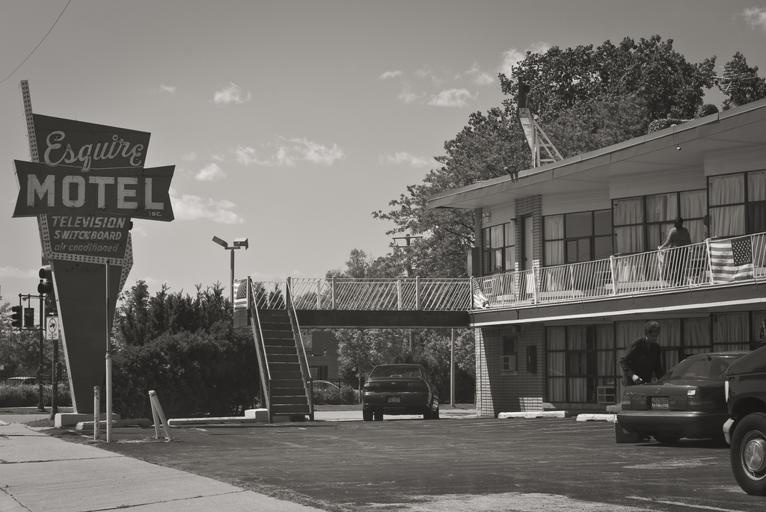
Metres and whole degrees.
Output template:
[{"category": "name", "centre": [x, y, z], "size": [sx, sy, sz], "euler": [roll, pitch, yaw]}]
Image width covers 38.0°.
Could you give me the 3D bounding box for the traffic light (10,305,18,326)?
[{"category": "traffic light", "centre": [-16.201, 2.665, 48.816], "size": [0.287, 0.860, 1.199], "euler": [0, -10, -18]}]

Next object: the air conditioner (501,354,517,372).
[{"category": "air conditioner", "centre": [4.972, 4.188, 43.516], "size": [0.364, 0.644, 0.649], "euler": [9, -11, -43]}]

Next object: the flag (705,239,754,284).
[{"category": "flag", "centre": [10.475, 0.145, 33.265], "size": [1.160, 1.196, 0.091], "euler": [-13, -11, 42]}]

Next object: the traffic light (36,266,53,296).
[{"category": "traffic light", "centre": [-10.998, 0.733, 36.082], "size": [0.423, 0.974, 1.361], "euler": [0, -10, -16]}]

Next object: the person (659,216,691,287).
[{"category": "person", "centre": [9.314, -0.115, 35.370], "size": [0.944, 2.244, 0.975], "euler": [-5, -9, 14]}]

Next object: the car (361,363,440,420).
[{"category": "car", "centre": [0.528, 4.690, 38.260], "size": [2.488, 2.019, 1.602], "euler": [-2, -9, -2]}]

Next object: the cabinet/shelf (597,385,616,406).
[{"category": "cabinet/shelf", "centre": [8.050, 4.981, 39.822], "size": [0.270, 0.672, 0.705], "euler": [6, -9, -33]}]
